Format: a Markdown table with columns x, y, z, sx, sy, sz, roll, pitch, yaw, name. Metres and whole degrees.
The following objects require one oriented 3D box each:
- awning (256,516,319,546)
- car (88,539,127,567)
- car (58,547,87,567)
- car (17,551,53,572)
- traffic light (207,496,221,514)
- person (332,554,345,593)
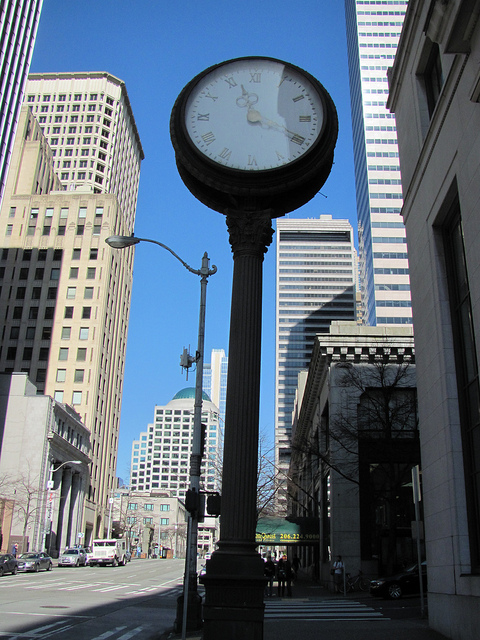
| x | y | z | sx | sy | sz | roll | pitch | yaw | name |
| --- | --- | --- | --- | --- | --- | --- | --- | --- | --- |
| 3.352 | 14.664 | 40.653 | 4.936 | 2.043 | 1.877 | 15 | -27 | -29 | awning |
| -11.562 | 20.143 | 51.223 | 2.083 | 2.499 | 4.277 | -3 | -31 | 3 | car |
| -13.837 | 19.583 | 48.356 | 1.066 | 1.181 | 2.217 | -3 | -30 | 0 | car |
| -13.893 | 16.249 | 39.331 | 1.566 | 1.391 | 4.451 | 3 | -25 | -6 | car |
| -0.349 | 2.313 | 7.312 | 0.201 | 0.259 | 0.050 | 7 | -9 | -38 | traffic light |
| 4.787 | 12.359 | 28.406 | 0.545 | 1.636 | 2.655 | -3 | -24 | 8 | person |
